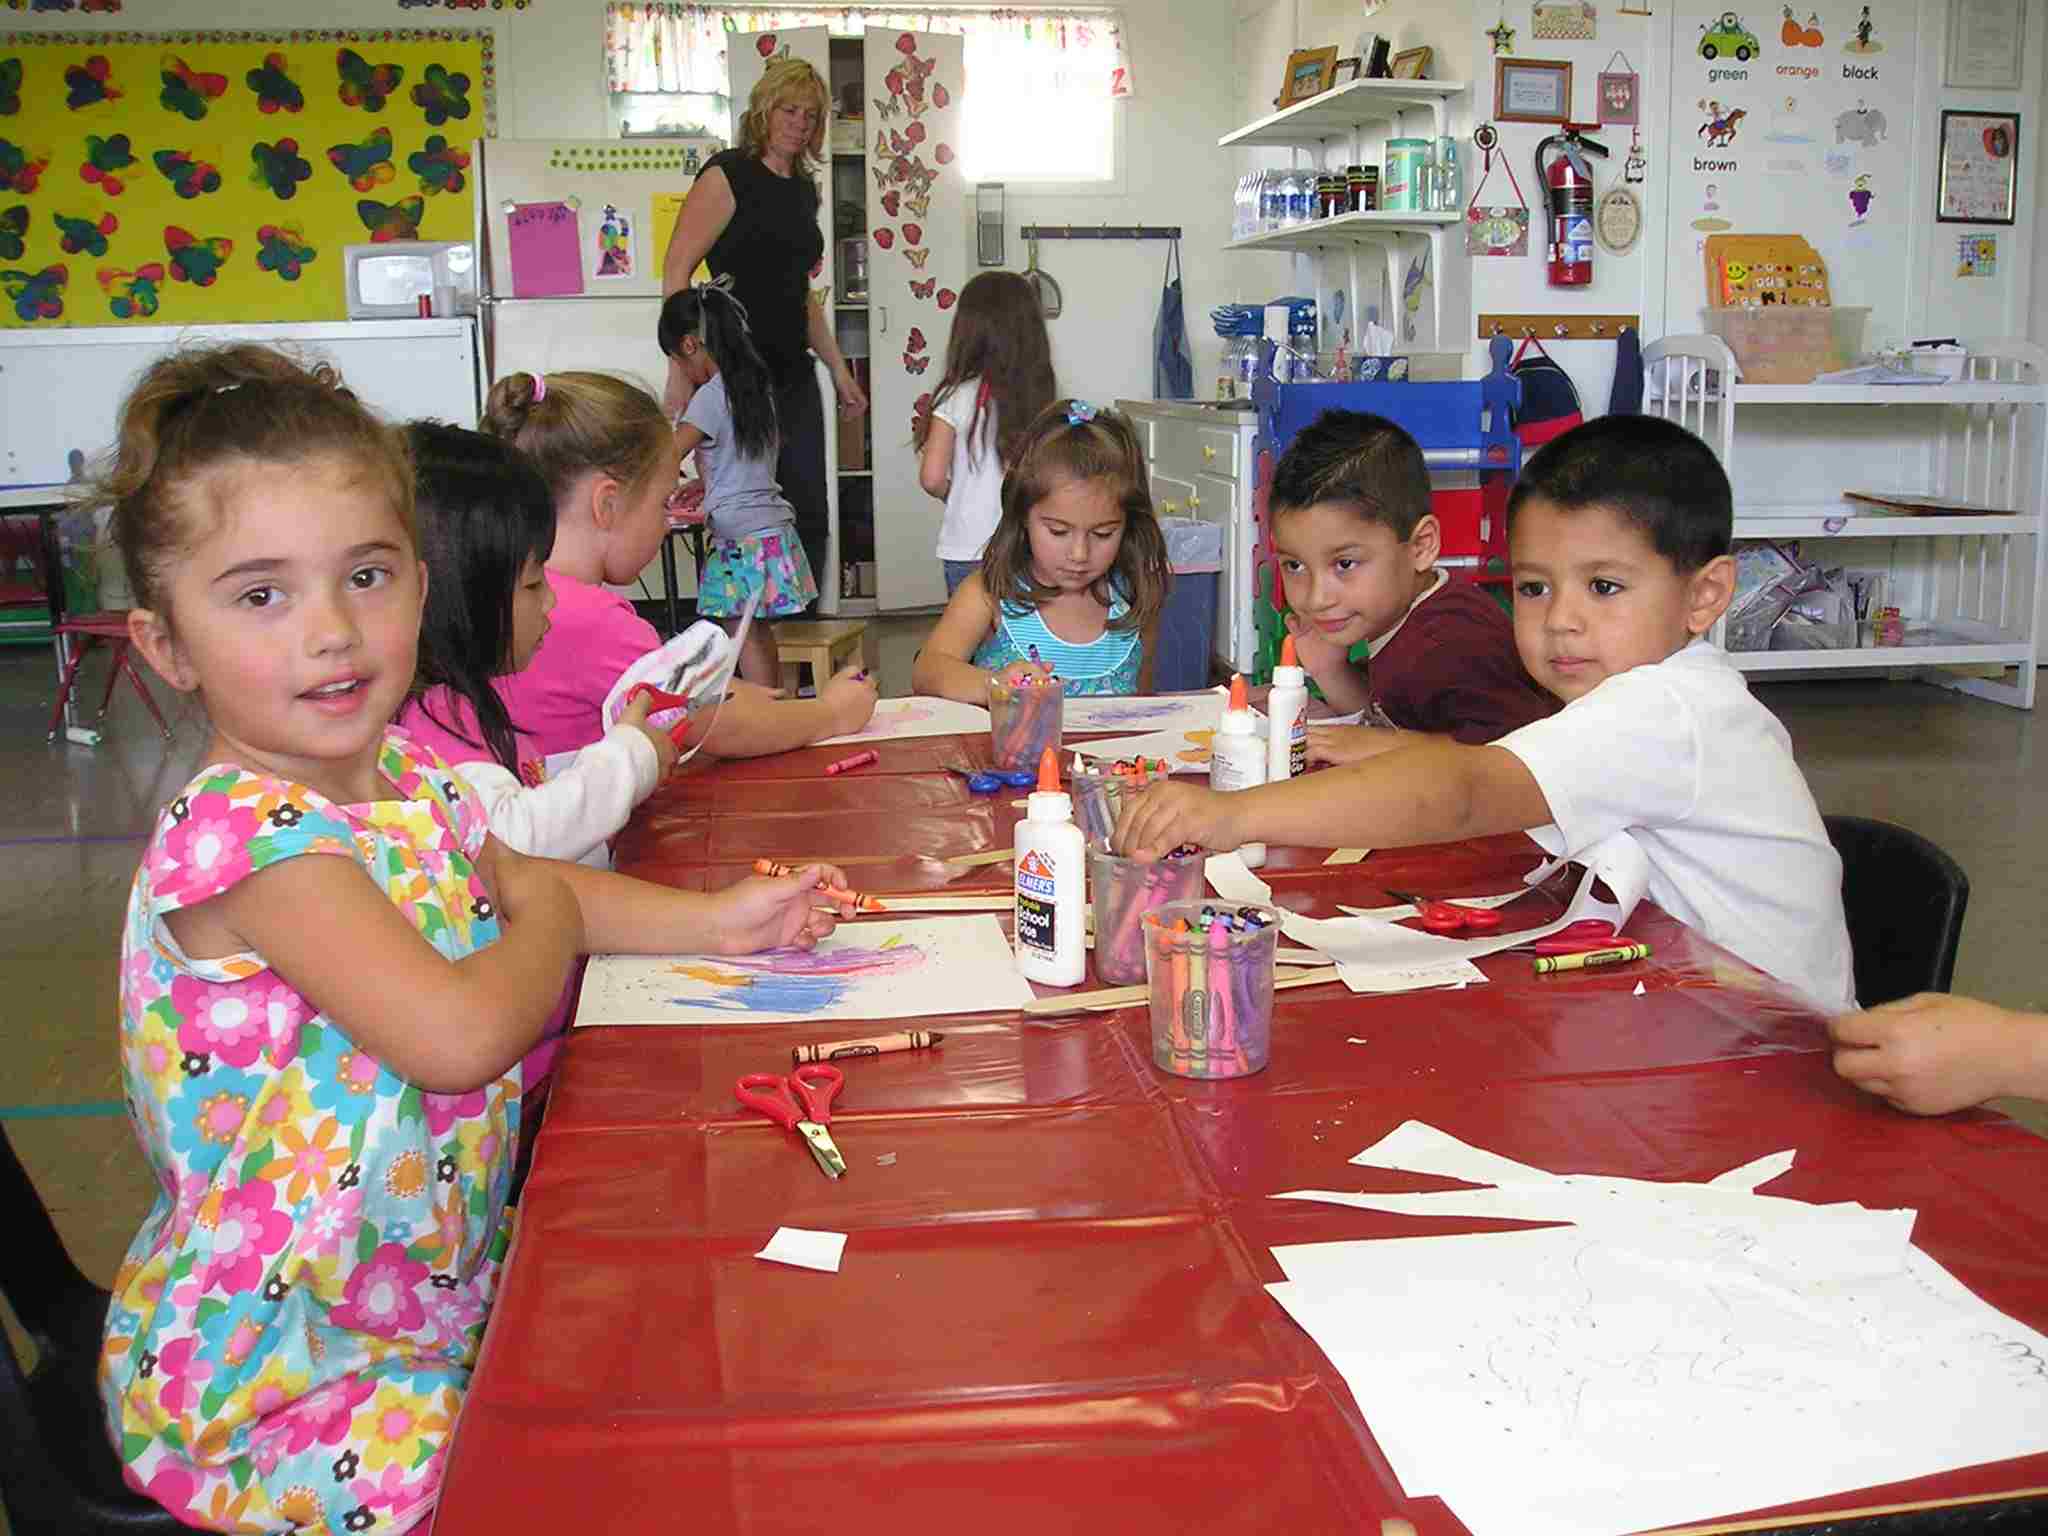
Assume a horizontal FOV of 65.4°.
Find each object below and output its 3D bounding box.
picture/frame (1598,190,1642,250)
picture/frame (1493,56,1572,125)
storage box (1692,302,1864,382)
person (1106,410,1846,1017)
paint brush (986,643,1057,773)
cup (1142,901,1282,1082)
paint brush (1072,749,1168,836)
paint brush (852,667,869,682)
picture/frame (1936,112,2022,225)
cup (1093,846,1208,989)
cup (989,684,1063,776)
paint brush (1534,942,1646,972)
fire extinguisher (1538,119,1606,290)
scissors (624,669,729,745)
[{"bbox_3d":[1.990,-1.832,5.300,0.184,0.170,0.037,0,11,-13],"label":"picture/frame"},{"bbox_3d":[1.631,-2.197,5.117,0.229,0.155,0.016,-6,7,-12],"label":"picture/frame"},{"bbox_3d":[2.533,-1.407,5.278,0.433,0.179,0.281,-1,8,2],"label":"storage box"},{"bbox_3d":[0.500,0.077,1.725,0.718,0.973,0.358,-8,42,2],"label":"person"},{"bbox_3d":[0.001,-0.067,2.022,0.132,0.181,0.121,1,6,0],"label":"paint brush"},{"bbox_3d":[0.140,0.168,1.225,0.118,0.110,0.118,-1,16,0],"label":"cup"},{"bbox_3d":[0.103,0.026,1.630,0.081,0.068,0.088,1,4,-5],"label":"paint brush"},{"bbox_3d":[-0.240,-0.141,2.315,0.025,0.011,0.033,1,5,-2],"label":"paint brush"},{"bbox_3d":[3.344,-2.123,5.567,0.423,0.440,0.048,2,5,-18],"label":"picture/frame"},{"bbox_3d":[0.085,0.117,1.290,0.108,0.103,0.106,0,3,0],"label":"cup"},{"bbox_3d":[0.006,-0.053,2.024,0.120,0.139,0.105,1,3,-2],"label":"cup"},{"bbox_3d":[0.490,0.162,1.369,0.079,0.016,0.017,-3,-5,-18],"label":"paint brush"},{"bbox_3d":[1.821,-1.853,5.221,0.260,0.523,0.108,-7,9,-29],"label":"fire extinguisher"},{"bbox_3d":[-0.438,-0.076,1.964,0.067,0.042,0.102,14,17,19],"label":"scissors"}]
